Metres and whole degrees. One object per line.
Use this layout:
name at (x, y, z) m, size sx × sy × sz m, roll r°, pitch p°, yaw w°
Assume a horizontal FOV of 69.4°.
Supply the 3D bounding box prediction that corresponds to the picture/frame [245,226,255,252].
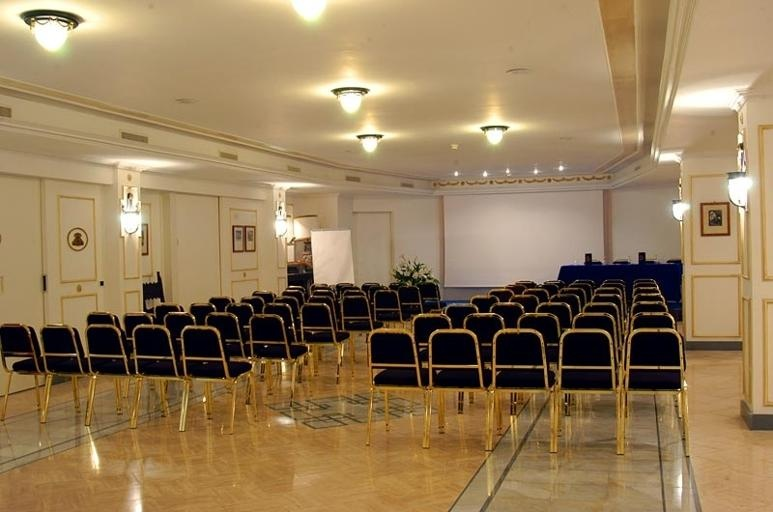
picture/frame at (-3.465, -0.425, 14.121) m, size 0.054 × 0.713 × 0.672 m, roll -2°, pitch -2°, yaw 22°

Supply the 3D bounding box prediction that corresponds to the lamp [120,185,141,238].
lamp at (-4.747, -0.827, 10.391) m, size 0.177 × 0.913 × 0.495 m, roll -1°, pitch 4°, yaw 7°

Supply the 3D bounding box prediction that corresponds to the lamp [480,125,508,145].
lamp at (2.009, -2.243, 10.228) m, size 0.385 × 0.229 × 0.383 m, roll -1°, pitch 4°, yaw 10°

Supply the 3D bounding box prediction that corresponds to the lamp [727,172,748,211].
lamp at (4.164, -0.768, 6.584) m, size 0.190 × 0.463 × 0.648 m, roll 1°, pitch 4°, yaw 31°

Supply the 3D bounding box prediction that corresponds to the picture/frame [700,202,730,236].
picture/frame at (5.838, -0.670, 9.862) m, size 0.601 × 0.765 × 0.043 m, roll -1°, pitch 2°, yaw 11°

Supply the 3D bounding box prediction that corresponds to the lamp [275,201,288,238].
lamp at (-2.829, -0.943, 14.924) m, size 0.246 × 0.945 × 0.432 m, roll 2°, pitch 5°, yaw 39°

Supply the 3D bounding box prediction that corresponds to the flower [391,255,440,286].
flower at (0.675, 0.282, 14.184) m, size 0.947 × 0.826 × 1.128 m, roll 1°, pitch -6°, yaw 15°

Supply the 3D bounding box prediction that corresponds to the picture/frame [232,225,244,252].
picture/frame at (-3.650, -0.412, 13.785) m, size 0.061 × 0.689 × 0.431 m, roll 0°, pitch 4°, yaw 23°

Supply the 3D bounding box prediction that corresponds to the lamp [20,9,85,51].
lamp at (-3.287, -2.218, 5.439) m, size 0.399 × 0.213 × 0.407 m, roll 4°, pitch 9°, yaw 37°

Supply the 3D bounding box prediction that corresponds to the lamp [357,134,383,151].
lamp at (-0.313, -2.212, 10.957) m, size 0.515 × 0.261 × 0.631 m, roll -2°, pitch 3°, yaw -3°

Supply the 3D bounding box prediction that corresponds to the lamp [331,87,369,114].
lamp at (-0.501, -2.165, 7.755) m, size 0.516 × 0.274 × 0.373 m, roll -2°, pitch 4°, yaw -3°
